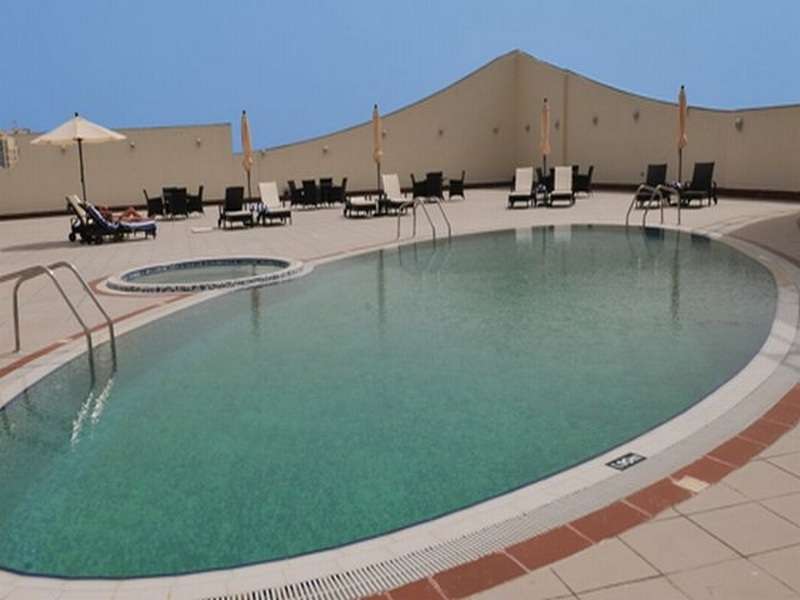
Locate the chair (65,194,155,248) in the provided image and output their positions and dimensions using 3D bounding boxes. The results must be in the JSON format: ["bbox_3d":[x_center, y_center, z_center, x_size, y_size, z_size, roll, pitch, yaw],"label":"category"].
[{"bbox_3d":[-6.492,-1.680,12.102,1.622,0.988,1.285,-4,14,-21],"label":"chair"}]

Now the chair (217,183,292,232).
[{"bbox_3d":[-4.194,-2.696,15.149,1.754,1.095,2.844,-6,15,-15],"label":"chair"}]
